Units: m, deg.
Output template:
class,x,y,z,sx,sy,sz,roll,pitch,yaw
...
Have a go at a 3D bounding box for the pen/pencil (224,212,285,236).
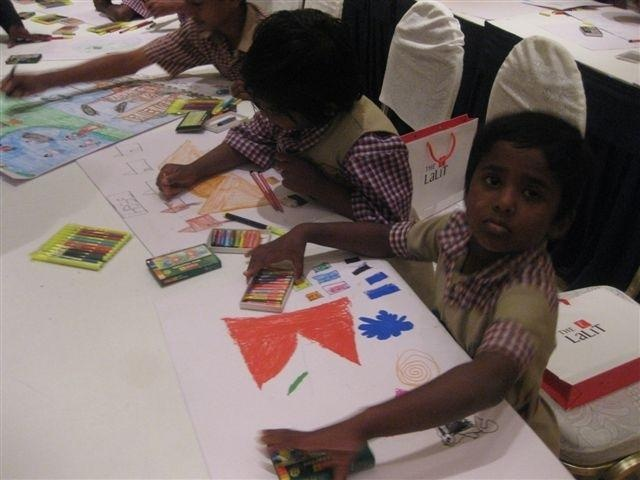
class,x,y,z,sx,sy,sz,roll,pitch,yaw
pen/pencil,-0.176,-0.041,1.231,0.184,0.018,0.020,15,16,13
